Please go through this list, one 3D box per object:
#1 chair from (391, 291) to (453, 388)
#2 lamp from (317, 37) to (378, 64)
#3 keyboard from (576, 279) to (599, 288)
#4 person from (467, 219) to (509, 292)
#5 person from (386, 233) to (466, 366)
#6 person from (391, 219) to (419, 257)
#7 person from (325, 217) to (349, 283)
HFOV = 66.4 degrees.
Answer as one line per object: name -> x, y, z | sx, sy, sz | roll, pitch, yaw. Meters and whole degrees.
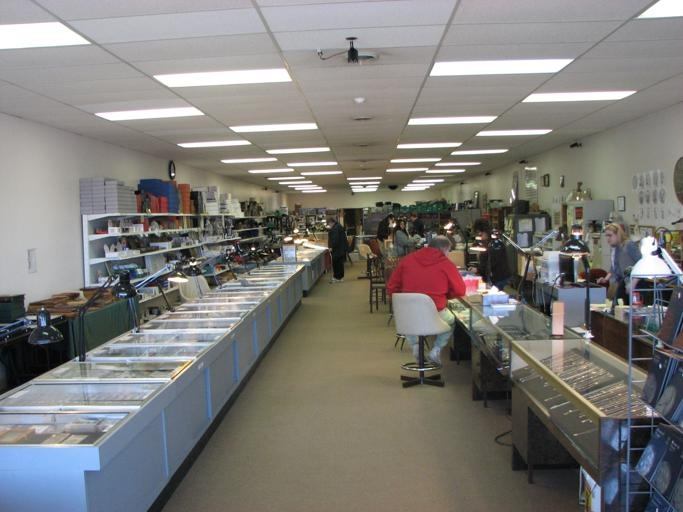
chair -> 0.880, 0.861, 5.738 | 0.582, 1.048, 0.693 | 0, 8, 12
lamp -> 0.088, -1.805, 4.636 | 0.600, 0.266, 0.203 | -4, 17, -6
keyboard -> 2.735, 0.312, 5.819 | 0.171, 0.051, 0.190 | 1, 3, -8
person -> 2.175, 0.114, 7.571 | 0.586, 1.227, 0.518 | 5, 18, 28
person -> 0.951, 0.519, 5.988 | 0.867, 1.495, 0.697 | 3, 7, 9
person -> 1.417, -0.181, 11.334 | 0.598, 1.205, 0.532 | -3, -3, 3
person -> -0.119, -0.185, 13.521 | 0.448, 1.643, 1.103 | -1, 8, -1
